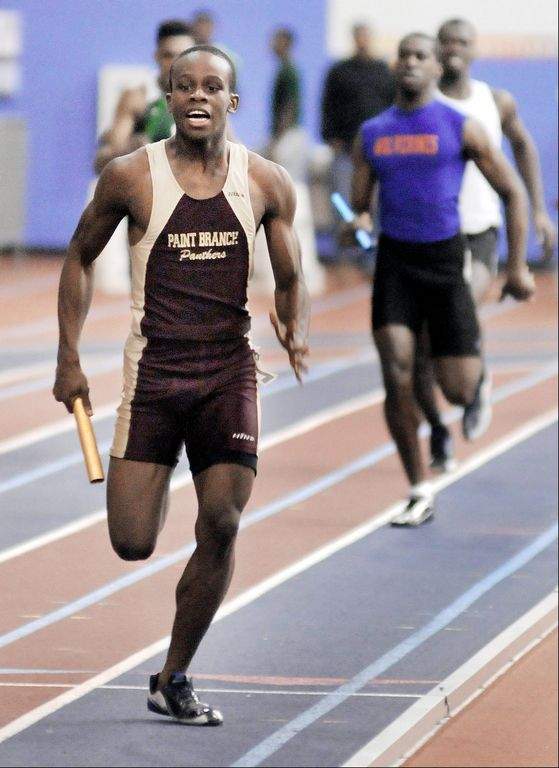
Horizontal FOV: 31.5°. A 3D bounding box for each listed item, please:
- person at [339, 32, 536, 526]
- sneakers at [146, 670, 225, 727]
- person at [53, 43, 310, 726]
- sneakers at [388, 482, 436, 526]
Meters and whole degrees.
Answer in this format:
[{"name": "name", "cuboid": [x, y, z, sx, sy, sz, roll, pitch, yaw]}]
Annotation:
[{"name": "person", "cuboid": [0.723, -0.460, 4.332, 0.704, 2.056, 0.623, -1, 12, -13]}, {"name": "sneakers", "cuboid": [-0.239, 0.759, 2.462, 0.241, 0.101, 0.090, 8, 13, 36]}, {"name": "person", "cuboid": [-0.249, 0.012, 2.497, 0.655, 1.665, 0.553, 2, 12, -3]}, {"name": "sneakers", "cuboid": [0.611, 0.539, 4.325, 0.101, 0.123, 0.307, -9, -6, 30]}]
